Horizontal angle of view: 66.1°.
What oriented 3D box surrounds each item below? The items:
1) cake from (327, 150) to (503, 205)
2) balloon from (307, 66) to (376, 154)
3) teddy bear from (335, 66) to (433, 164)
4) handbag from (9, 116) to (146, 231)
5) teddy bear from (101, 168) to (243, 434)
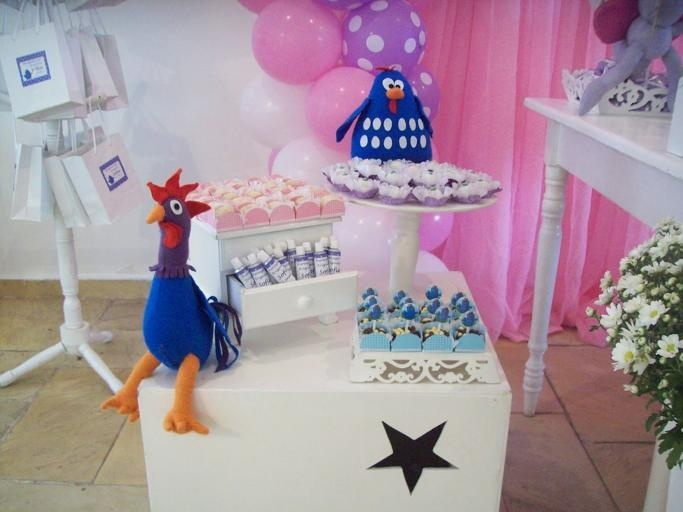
[{"bbox_3d":[0.196,-0.216,1.501,0.487,0.099,0.271,-4,24,-3],"label":"cake"},{"bbox_3d":[-0.025,-0.532,1.963,0.247,0.337,0.264,0,13,-10],"label":"balloon"},{"bbox_3d":[0.141,-0.433,1.634,0.272,0.275,0.162,1,23,9],"label":"teddy bear"},{"bbox_3d":[-1.033,-0.347,2.051,0.261,0.557,0.389,11,26,29],"label":"handbag"},{"bbox_3d":[-0.397,0.090,1.280,0.311,0.581,0.345,6,8,35],"label":"teddy bear"}]
